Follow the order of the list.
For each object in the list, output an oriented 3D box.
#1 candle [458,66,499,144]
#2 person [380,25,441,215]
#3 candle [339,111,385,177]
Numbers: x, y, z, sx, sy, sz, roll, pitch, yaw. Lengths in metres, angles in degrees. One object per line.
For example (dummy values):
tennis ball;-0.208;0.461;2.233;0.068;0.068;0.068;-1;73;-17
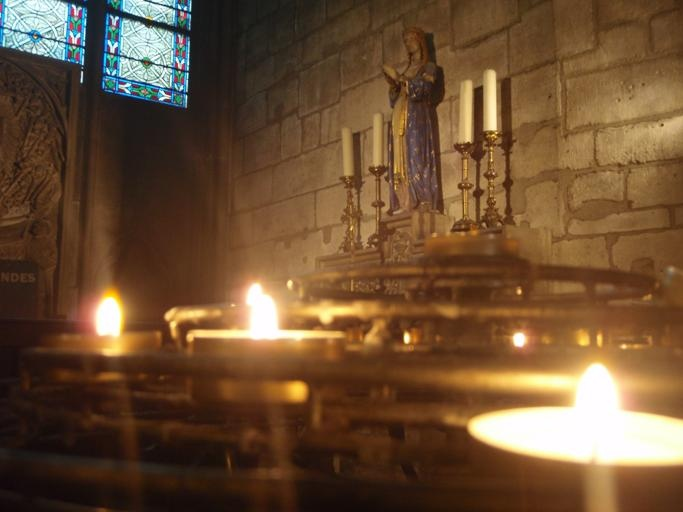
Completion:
candle;0.642;-0.697;3.395;0.187;0.323;0.486;-2;11;13
person;0.410;-0.720;3.866;0.339;0.987;0.475;-5;11;-4
candle;0.122;-0.633;4.197;0.259;0.349;0.536;-4;11;4
